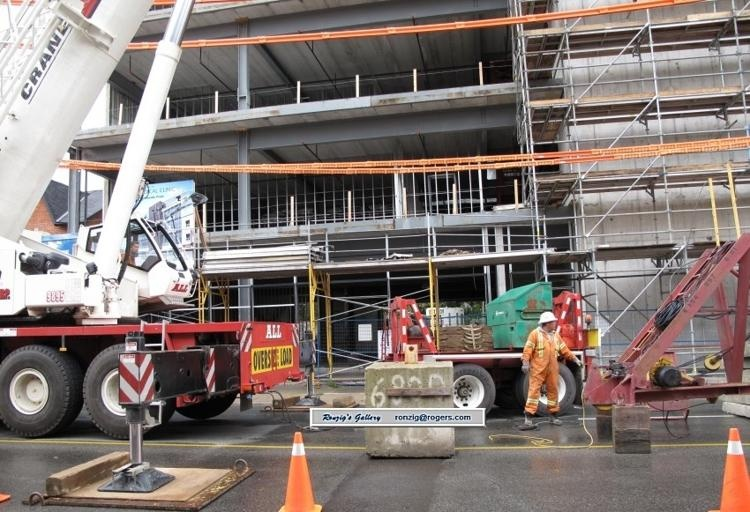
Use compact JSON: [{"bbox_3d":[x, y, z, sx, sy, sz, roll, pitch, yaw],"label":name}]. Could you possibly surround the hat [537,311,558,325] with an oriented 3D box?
[{"bbox_3d":[3.813,1.375,19.871,0.365,0.170,0.333,-10,5,-23],"label":"hat"}]
